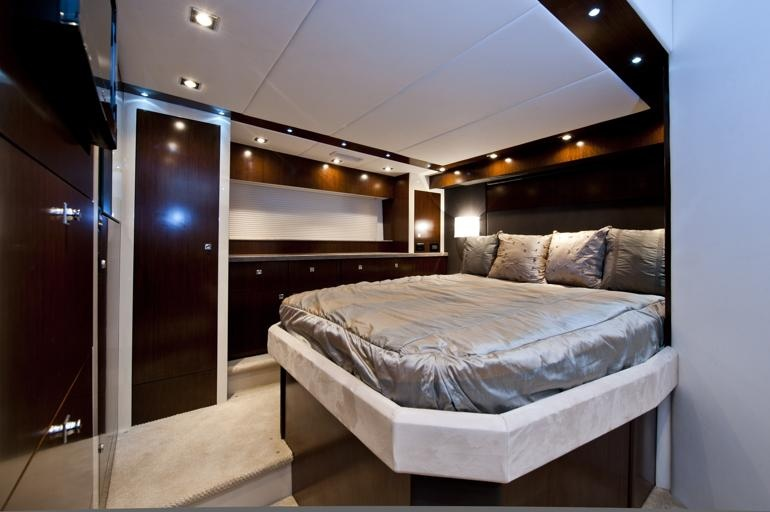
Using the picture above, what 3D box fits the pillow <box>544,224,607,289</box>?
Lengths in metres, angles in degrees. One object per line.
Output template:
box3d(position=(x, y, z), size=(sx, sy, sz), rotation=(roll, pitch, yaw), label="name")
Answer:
box3d(position=(1.677, 0.027, 4.245), size=(0.257, 0.515, 0.554), rotation=(6, -4, -29), label="pillow")

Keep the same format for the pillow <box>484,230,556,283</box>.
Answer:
box3d(position=(1.302, 0.015, 4.756), size=(0.561, 0.487, 0.275), rotation=(4, 2, 44), label="pillow")

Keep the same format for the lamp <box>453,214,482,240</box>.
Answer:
box3d(position=(1.022, -0.356, 6.045), size=(0.299, 0.226, 0.284), rotation=(0, 3, 15), label="lamp")

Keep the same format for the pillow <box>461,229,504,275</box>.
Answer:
box3d(position=(1.035, -0.009, 5.153), size=(0.132, 0.418, 0.432), rotation=(17, -11, -29), label="pillow")

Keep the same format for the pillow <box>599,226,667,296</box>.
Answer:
box3d(position=(2.061, 0.035, 3.903), size=(0.203, 0.582, 0.579), rotation=(11, -4, -30), label="pillow")

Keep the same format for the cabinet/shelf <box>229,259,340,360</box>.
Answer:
box3d(position=(-0.911, 0.462, 4.083), size=(0.902, 0.749, 0.313), rotation=(-1, 2, -40), label="cabinet/shelf")
